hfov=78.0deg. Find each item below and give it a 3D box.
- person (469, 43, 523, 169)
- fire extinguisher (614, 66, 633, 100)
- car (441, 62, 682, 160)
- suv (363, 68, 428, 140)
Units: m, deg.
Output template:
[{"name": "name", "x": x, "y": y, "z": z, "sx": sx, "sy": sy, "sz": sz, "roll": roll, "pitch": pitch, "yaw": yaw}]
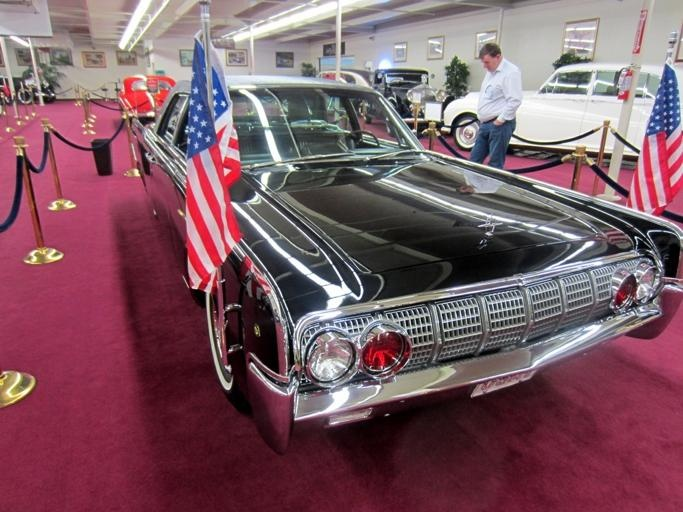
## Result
[{"name": "person", "x": 1.988, "y": -1.838, "z": 5.507, "sx": 0.551, "sy": 1.754, "sz": 0.630, "roll": -27, "pitch": 45, "yaw": -14}, {"name": "fire extinguisher", "x": 3.495, "y": -2.130, "z": 5.221, "sx": 0.027, "sy": 0.285, "sz": 0.098, "roll": -16, "pitch": 36, "yaw": -37}, {"name": "car", "x": 3.454, "y": -2.960, "z": 9.134, "sx": 5.349, "sy": 1.960, "sz": 2.138, "roll": 19, "pitch": 32, "yaw": 33}, {"name": "suv", "x": 2.102, "y": -5.420, "z": 13.819, "sx": 1.566, "sy": 1.403, "sz": 2.855, "roll": -29, "pitch": 33, "yaw": -2}]
